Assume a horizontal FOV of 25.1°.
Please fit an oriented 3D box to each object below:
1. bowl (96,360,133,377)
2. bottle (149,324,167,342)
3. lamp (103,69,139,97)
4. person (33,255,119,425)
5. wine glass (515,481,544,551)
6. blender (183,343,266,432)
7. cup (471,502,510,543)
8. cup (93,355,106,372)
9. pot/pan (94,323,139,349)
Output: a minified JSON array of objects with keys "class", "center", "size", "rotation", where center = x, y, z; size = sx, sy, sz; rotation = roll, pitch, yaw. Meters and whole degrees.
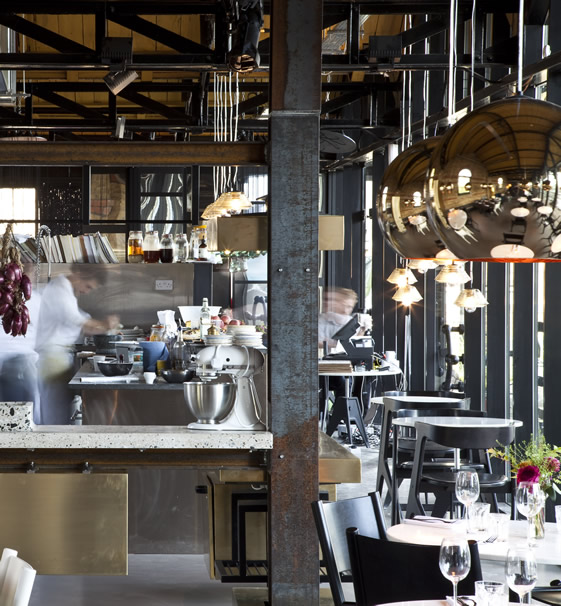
[{"class":"bowl","center":[-0.981,0.385,7.543],"size":[0.247,0.095,0.176],"rotation":[-1,4,-27]},{"class":"bottle","center":[-0.760,0.184,7.769],"size":[0.065,0.119,0.116],"rotation":[1,1,-9]},{"class":"lamp","center":[-1.038,-1.429,8.113],"size":[0.191,0.119,0.459],"rotation":[0,3,-9]},{"class":"person","center":[-1.350,0.253,8.248],"size":[0.508,1.036,0.216],"rotation":[0,3,-12]},{"class":"wine glass","center":[1.155,0.935,5.758],"size":[0.125,0.310,0.128],"rotation":[0,22,26]},{"class":"blender","center":[-0.213,0.383,5.612],"size":[0.402,0.447,0.255],"rotation":[2,-5,2]},{"class":"cup","center":[0.943,0.993,5.671],"size":[0.180,0.148,0.130],"rotation":[4,-10,-12]},{"class":"cup","center":[-1.108,0.358,7.583],"size":[0.100,0.120,0.106],"rotation":[1,2,0]},{"class":"pot/pan","center":[-1.068,0.227,8.257],"size":[0.325,0.155,0.265],"rotation":[0,3,-16]}]
